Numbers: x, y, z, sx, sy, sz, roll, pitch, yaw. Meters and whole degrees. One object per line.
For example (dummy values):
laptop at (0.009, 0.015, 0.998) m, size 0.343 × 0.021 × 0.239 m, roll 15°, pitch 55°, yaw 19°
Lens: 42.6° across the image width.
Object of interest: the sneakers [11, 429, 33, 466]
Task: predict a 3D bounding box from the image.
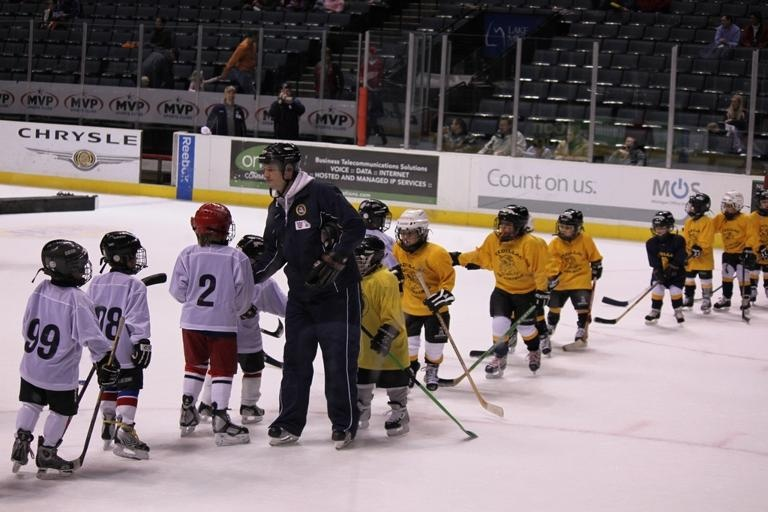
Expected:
sneakers at (-2.680, 1.401, 7.267) m, size 0.112 × 0.217 × 0.324 m, roll 9°, pitch 19°, yaw -14°

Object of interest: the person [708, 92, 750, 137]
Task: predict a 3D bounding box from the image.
person at (5.455, -2.223, 15.276) m, size 0.634 × 0.722 × 0.538 m, roll 3°, pitch 11°, yaw -32°

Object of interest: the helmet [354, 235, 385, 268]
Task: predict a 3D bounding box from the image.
helmet at (-0.099, -0.052, 8.299) m, size 0.289 × 0.271 × 0.231 m, roll 10°, pitch 17°, yaw 12°

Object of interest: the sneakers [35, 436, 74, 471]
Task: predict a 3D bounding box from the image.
sneakers at (-2.444, 1.490, 7.345) m, size 0.311 × 0.275 × 0.106 m, roll 4°, pitch 0°, yaw 2°

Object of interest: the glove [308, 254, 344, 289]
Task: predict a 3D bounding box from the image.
glove at (-0.417, 0.094, 7.682) m, size 0.205 × 0.127 × 0.315 m, roll -28°, pitch 1°, yaw 32°

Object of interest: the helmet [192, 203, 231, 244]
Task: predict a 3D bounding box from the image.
helmet at (-1.441, -0.270, 8.119) m, size 0.309 × 0.343 × 0.379 m, roll 13°, pitch 5°, yaw 3°

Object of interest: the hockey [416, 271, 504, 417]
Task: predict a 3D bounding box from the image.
hockey at (0.719, 0.889, 9.512) m, size 0.208 × 1.437 × 0.225 m, roll -13°, pitch -29°, yaw -42°

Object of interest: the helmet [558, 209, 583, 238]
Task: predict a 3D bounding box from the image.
helmet at (1.982, -0.359, 10.718) m, size 0.260 × 0.295 × 0.316 m, roll 3°, pitch 4°, yaw 34°

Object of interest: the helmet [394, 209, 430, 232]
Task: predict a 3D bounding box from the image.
helmet at (0.251, -0.334, 9.145) m, size 0.204 × 0.217 × 0.237 m, roll -4°, pitch -3°, yaw 42°

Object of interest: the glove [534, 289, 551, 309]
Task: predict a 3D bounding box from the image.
glove at (1.519, 0.395, 9.614) m, size 0.135 × 0.151 × 0.176 m, roll 7°, pitch 1°, yaw 34°

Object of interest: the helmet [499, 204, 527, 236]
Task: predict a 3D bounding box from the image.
helmet at (1.258, -0.350, 9.667) m, size 0.309 × 0.261 × 0.262 m, roll 13°, pitch -4°, yaw -21°

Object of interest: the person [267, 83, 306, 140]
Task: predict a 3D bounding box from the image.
person at (-1.695, -2.541, 17.158) m, size 0.600 × 1.000 × 0.483 m, roll 2°, pitch 4°, yaw -8°

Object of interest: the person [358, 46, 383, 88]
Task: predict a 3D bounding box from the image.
person at (-0.202, -3.131, 16.687) m, size 0.388 × 0.823 × 0.250 m, roll 0°, pitch -24°, yaw 3°

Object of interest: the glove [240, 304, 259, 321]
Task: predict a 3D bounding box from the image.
glove at (-1.124, 0.466, 8.222) m, size 0.132 × 0.078 × 0.099 m, roll -18°, pitch 8°, yaw 12°

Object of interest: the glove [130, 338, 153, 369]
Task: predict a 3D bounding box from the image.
glove at (-1.852, 0.739, 7.493) m, size 0.159 × 0.205 × 0.079 m, roll 3°, pitch 6°, yaw -7°

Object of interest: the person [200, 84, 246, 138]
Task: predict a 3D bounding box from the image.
person at (-2.853, -2.583, 17.556) m, size 0.988 × 1.392 × 0.459 m, roll -2°, pitch 7°, yaw -10°

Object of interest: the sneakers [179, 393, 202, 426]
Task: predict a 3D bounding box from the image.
sneakers at (-1.625, 1.300, 8.149) m, size 0.159 × 0.292 × 0.437 m, roll 9°, pitch -6°, yaw -2°

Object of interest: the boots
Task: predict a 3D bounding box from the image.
boots at (0.143, 1.165, 8.318) m, size 0.677 × 0.664 × 0.620 m, roll 1°, pitch -6°, yaw -5°

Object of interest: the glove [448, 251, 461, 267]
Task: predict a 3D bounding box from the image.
glove at (0.688, 0.016, 9.706) m, size 0.104 × 0.141 × 0.054 m, roll 14°, pitch 25°, yaw 23°

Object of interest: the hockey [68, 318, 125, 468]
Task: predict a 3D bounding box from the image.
hockey at (-2.188, 1.064, 7.532) m, size 0.128 × 1.231 × 0.339 m, roll 12°, pitch 16°, yaw -38°

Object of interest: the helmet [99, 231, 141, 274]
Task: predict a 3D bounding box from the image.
helmet at (-2.077, -0.026, 7.855) m, size 0.397 × 0.352 × 0.312 m, roll -2°, pitch 6°, yaw -20°

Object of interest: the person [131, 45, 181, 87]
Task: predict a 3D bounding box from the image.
person at (-4.155, -3.450, 17.969) m, size 0.732 × 0.730 × 0.205 m, roll 4°, pitch 4°, yaw 16°

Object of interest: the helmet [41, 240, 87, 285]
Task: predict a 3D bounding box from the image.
helmet at (-2.384, 0.068, 7.474) m, size 0.357 × 0.321 × 0.290 m, roll -6°, pitch 6°, yaw -32°

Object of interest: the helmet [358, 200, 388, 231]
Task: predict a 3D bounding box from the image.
helmet at (-0.102, -0.388, 9.254) m, size 0.316 × 0.291 × 0.255 m, roll -1°, pitch 4°, yaw -27°

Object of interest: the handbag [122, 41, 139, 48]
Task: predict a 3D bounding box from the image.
handbag at (-4.689, -3.905, 18.108) m, size 0.253 × 0.133 × 0.106 m, roll 2°, pitch 0°, yaw 11°

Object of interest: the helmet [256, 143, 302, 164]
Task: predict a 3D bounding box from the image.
helmet at (-0.849, -0.808, 7.925) m, size 0.262 × 0.236 × 0.188 m, roll 17°, pitch -2°, yaw -11°

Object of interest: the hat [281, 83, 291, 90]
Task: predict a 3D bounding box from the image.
hat at (-1.714, -2.975, 17.155) m, size 0.176 × 0.125 × 0.173 m, roll 0°, pitch 10°, yaw 12°

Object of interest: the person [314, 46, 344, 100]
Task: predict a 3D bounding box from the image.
person at (-0.983, -3.171, 16.994) m, size 0.560 × 0.836 × 0.360 m, roll 3°, pitch 4°, yaw 9°

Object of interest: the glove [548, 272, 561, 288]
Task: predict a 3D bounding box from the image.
glove at (1.750, 0.234, 10.177) m, size 0.138 × 0.056 × 0.136 m, roll -32°, pitch -13°, yaw 17°

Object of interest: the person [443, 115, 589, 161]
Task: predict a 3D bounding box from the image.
person at (2.228, -1.894, 16.077) m, size 2.548 × 0.705 × 0.729 m, roll 3°, pitch 6°, yaw 14°

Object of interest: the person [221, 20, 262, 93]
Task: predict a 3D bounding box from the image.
person at (-2.525, -3.502, 17.386) m, size 0.404 × 1.205 × 1.080 m, roll 23°, pitch 23°, yaw 30°

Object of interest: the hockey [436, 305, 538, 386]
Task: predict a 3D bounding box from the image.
hockey at (1.038, 0.909, 9.746) m, size 0.128 × 1.116 × 0.127 m, roll 41°, pitch -24°, yaw 22°

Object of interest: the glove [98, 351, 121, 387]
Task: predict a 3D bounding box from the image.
glove at (-2.114, 0.830, 7.405) m, size 0.216 × 0.089 × 0.194 m, roll 28°, pitch 51°, yaw 37°

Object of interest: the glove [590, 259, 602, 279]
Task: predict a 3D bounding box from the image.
glove at (2.326, 0.137, 10.722) m, size 0.146 × 0.189 × 0.070 m, roll 1°, pitch 6°, yaw 23°
